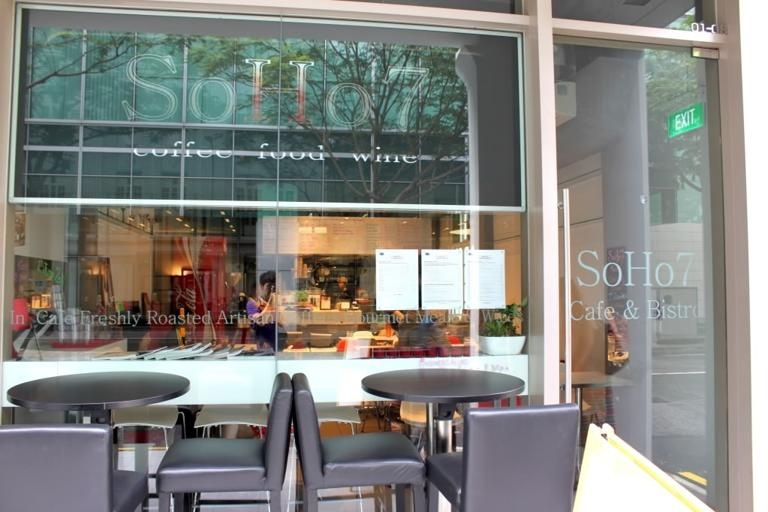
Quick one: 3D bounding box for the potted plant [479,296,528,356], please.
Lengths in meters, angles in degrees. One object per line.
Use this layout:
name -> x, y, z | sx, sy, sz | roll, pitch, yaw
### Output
potted plant -> 1.009, 0.691, 6.172 | 0.473, 0.543, 0.376 | 3, -7, -9

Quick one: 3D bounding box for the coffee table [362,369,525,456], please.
coffee table -> 0.450, 1.163, 5.388 | 0.831, 0.610, 0.847 | 0, -9, -2

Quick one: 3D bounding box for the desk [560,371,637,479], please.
desk -> 1.762, 1.516, 6.149 | 0.819, 0.799, 0.833 | 1, -5, 0
